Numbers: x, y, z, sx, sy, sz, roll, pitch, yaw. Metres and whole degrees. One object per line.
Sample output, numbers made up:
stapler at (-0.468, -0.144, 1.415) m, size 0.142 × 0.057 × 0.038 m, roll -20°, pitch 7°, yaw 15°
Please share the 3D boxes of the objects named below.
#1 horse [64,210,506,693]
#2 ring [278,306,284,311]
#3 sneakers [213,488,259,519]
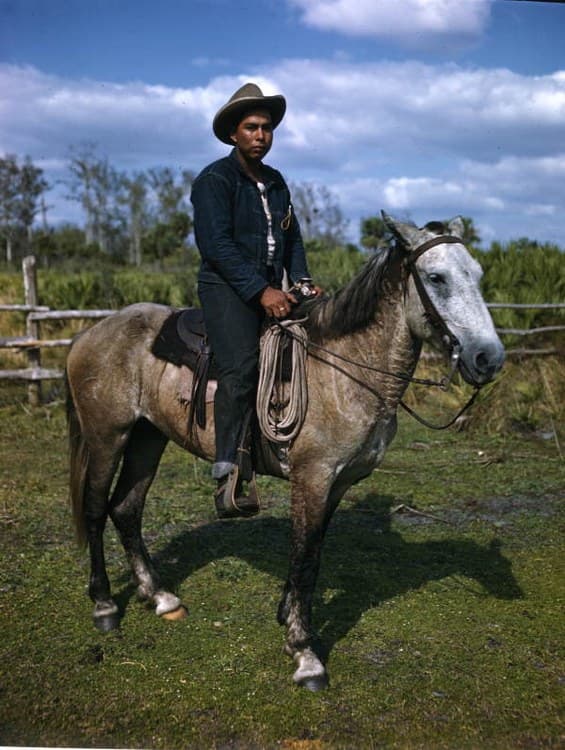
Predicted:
horse at (-0.054, 0.361, 3.759) m, size 2.808 × 2.158 × 0.836 m, roll 2°, pitch 3°, yaw 29°
ring at (-0.001, -0.314, 3.444) m, size 0.030 × 0.024 × 0.010 m, roll -10°, pitch 16°, yaw -43°
sneakers at (-0.229, 0.624, 3.475) m, size 0.126 × 0.099 × 0.231 m, roll 7°, pitch -15°, yaw -33°
